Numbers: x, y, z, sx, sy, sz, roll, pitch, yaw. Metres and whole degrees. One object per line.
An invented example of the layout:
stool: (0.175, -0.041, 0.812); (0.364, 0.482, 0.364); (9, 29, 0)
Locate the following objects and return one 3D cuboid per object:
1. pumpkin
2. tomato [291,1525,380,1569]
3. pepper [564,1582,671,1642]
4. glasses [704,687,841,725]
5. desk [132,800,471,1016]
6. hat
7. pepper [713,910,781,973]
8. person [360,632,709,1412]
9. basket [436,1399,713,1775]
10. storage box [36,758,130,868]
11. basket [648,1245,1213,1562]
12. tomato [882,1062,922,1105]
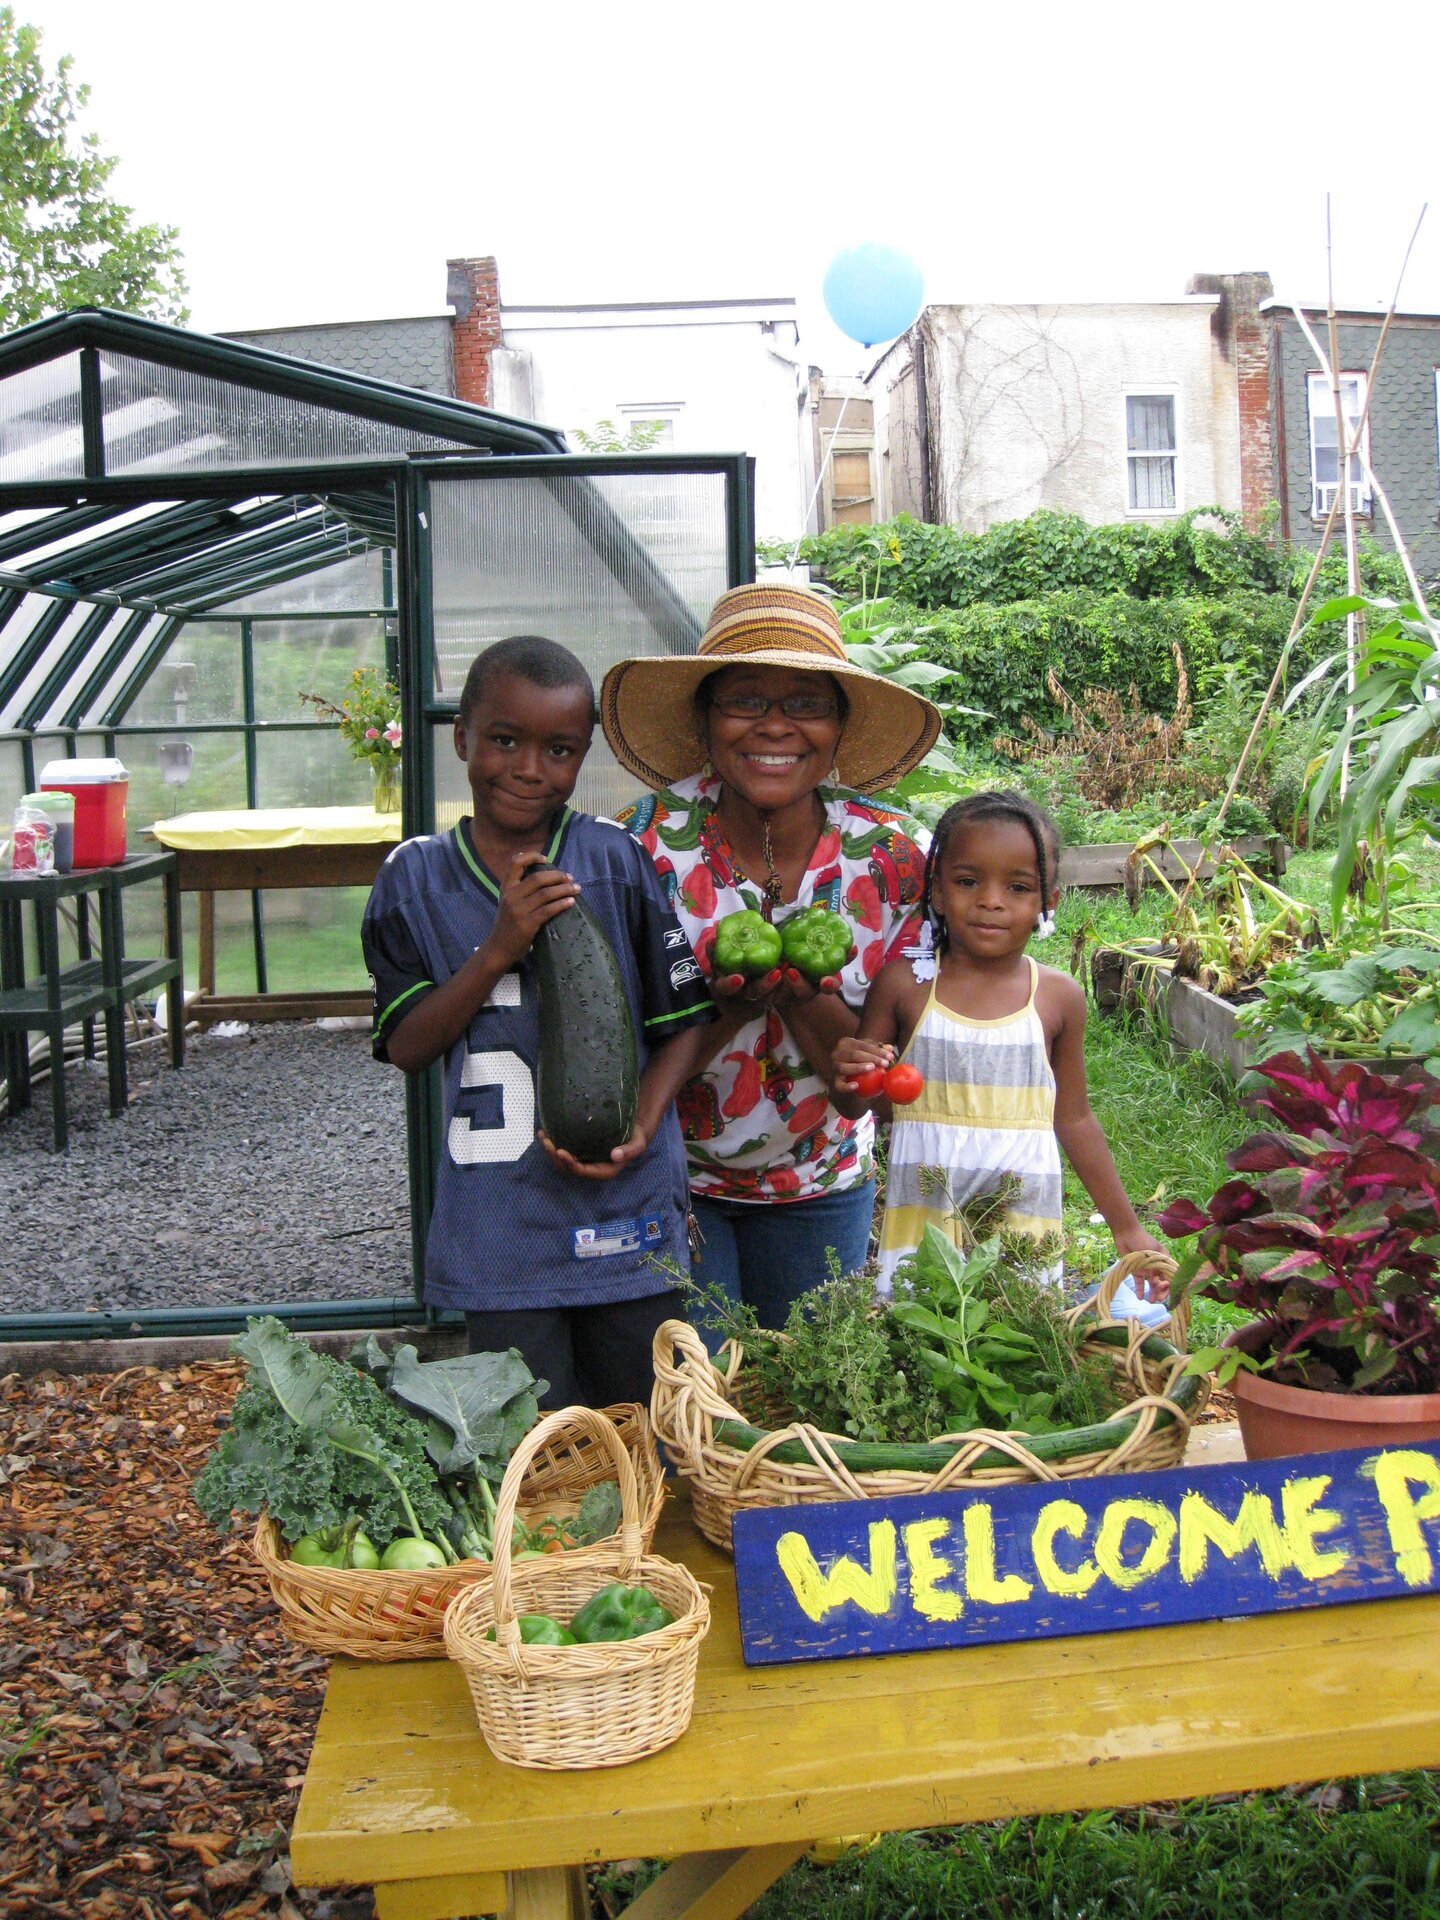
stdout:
pumpkin: (-0.183, 0.101, 2.115); (0.133, 0.347, 0.138); (-4, 7, -6)
tomato: (-0.385, 0.592, 1.580); (0.054, 0.020, 0.045); (3, -8, -45)
pepper: (-0.089, 0.581, 1.402); (0.048, 0.061, 0.051); (47, 30, 19)
glasses: (0.082, -0.377, 2.357); (0.182, 0.051, 0.085); (-3, 6, -4)
desk: (-2.413, -0.639, 9.613); (2.447, 1.487, 1.499); (0, 12, -3)
hat: (0.075, -0.464, 2.565); (0.534, 0.236, 0.490); (-8, -17, 23)
pepper: (0.039, -0.025, 2.335); (0.091, 0.082, 0.095); (4, -17, 1)
person: (-0.278, 0.263, 2.300); (0.527, 1.334, 0.465); (-1, 10, 1)
basket: (-0.133, 0.532, 1.375); (0.238, 0.263, 0.226); (-3, -2, 25)
storage box: (-2.895, -0.663, 7.157); (0.272, 0.492, 0.780); (-4, 6, -6)
basket: (0.225, 0.449, 1.648); (0.489, 0.156, 0.367); (-1, 0, -19)
tomato: (0.262, 0.178, 2.251); (0.041, 0.058, 0.077); (-1, 6, 18)
